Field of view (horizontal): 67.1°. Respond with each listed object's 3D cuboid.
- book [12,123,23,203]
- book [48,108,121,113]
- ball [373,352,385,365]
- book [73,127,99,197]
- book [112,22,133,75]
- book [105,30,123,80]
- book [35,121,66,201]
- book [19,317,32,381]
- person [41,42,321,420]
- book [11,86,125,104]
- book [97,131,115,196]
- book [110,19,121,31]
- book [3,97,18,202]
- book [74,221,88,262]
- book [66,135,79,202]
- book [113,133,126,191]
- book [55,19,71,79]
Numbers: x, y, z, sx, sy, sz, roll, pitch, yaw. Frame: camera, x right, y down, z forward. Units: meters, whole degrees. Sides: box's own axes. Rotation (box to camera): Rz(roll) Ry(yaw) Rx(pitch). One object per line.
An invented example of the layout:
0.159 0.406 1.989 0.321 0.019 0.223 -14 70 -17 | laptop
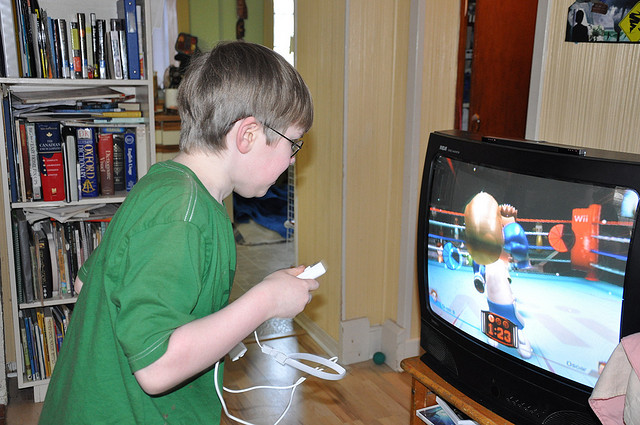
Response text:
-1.574 -0.257 2.510 0.042 0.407 0.021 -5 10 -8 | book
-1.274 -0.555 2.624 0.356 0.033 0.043 -8 11 -25 | book
0.366 0.910 3.018 0.065 0.077 0.066 27 -10 5 | ball
-1.280 -0.286 2.633 0.099 0.302 0.306 -4 14 -20 | book
-1.081 -0.906 2.633 0.028 0.269 0.201 -13 22 -15 | book
-1.122 -0.866 2.629 0.062 0.203 0.190 -3 -30 -16 | book
-1.526 -0.300 2.741 0.141 0.426 0.423 -2 6 -30 | book
-1.628 0.757 2.677 0.028 0.346 0.061 -9 11 -30 | book
-0.394 0.095 1.254 0.763 1.057 0.426 -3 10 1 | person
-1.387 -0.654 2.697 0.546 0.093 0.294 -7 10 -20 | book
-1.191 -0.287 2.680 0.103 0.302 0.301 -2 9 -16 | book
-1.113 -1.021 2.632 0.051 0.067 0.038 -8 10 -23 | book
-1.598 -0.316 2.495 0.058 0.524 0.018 -3 9 -2 | book
-1.321 0.159 2.695 0.044 0.202 0.193 -6 10 -14 | book
-1.329 -0.237 2.584 0.041 0.398 0.290 -2 9 -19 | book
-1.134 -0.299 2.720 0.090 0.261 0.262 -2 14 -16 | book
-1.358 -0.862 2.553 0.055 0.297 0.020 -8 11 -26 | book
